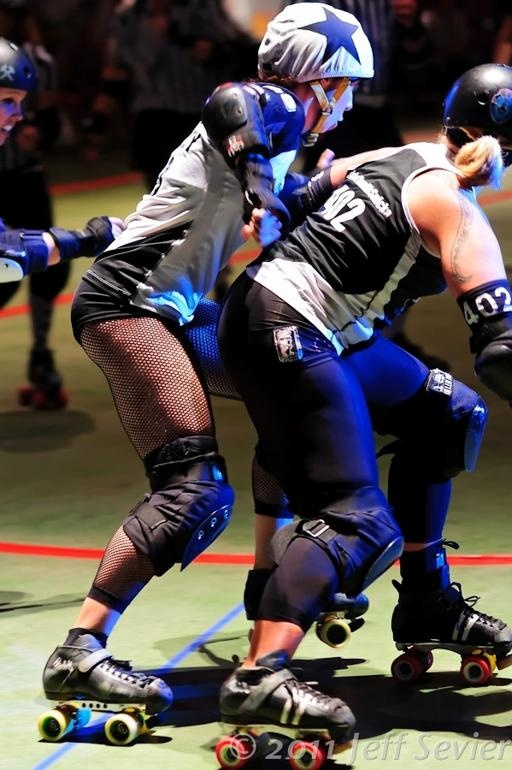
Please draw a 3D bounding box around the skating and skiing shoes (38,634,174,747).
[{"bbox_3d":[-0.323,0.647,1.491,0.265,0.231,0.126,-1,-1,15],"label":"skating and skiing shoes"}]
